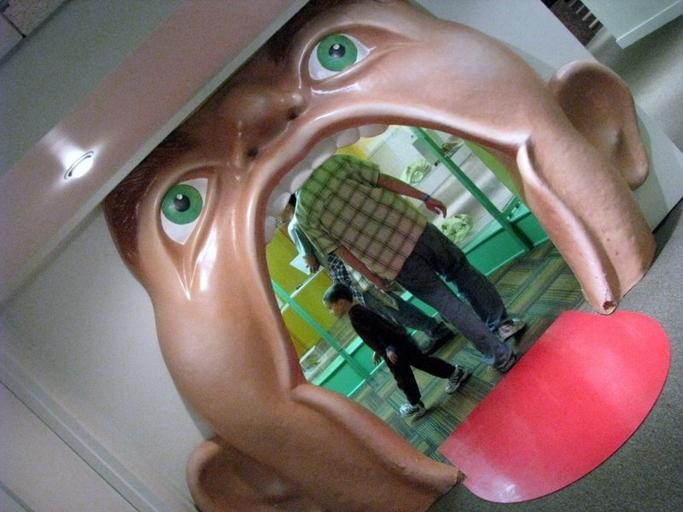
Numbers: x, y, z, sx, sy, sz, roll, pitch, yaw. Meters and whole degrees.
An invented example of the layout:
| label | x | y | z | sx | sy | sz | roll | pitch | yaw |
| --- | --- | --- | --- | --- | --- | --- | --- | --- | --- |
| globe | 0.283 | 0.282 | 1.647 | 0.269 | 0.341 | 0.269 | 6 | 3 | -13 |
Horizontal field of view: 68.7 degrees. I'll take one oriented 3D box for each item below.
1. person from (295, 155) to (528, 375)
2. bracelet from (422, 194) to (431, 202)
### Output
| label | x | y | z | sx | sy | sz | roll | pitch | yaw |
| --- | --- | --- | --- | --- | --- | --- | --- | --- | --- |
| person | 0.255 | -0.042 | 2.110 | 0.484 | 1.259 | 0.330 | -48 | 1 | -20 |
| bracelet | 0.360 | -0.244 | 2.111 | 0.023 | 0.037 | 0.017 | -3 | 1 | 12 |
